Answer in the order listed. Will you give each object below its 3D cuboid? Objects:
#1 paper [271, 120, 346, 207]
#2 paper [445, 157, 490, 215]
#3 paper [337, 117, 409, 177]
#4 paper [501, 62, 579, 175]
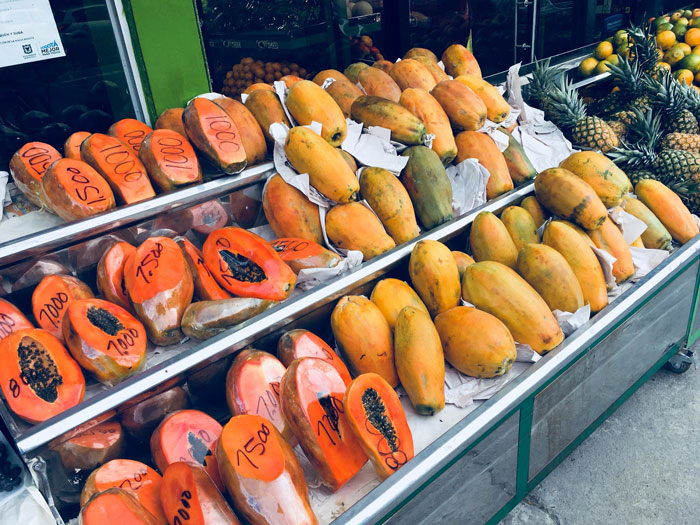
[{"bbox_3d":[-0.225,-0.401,2.147,0.357,0.119,0.253,48,44,-4],"label":"paper"},{"bbox_3d":[0.561,-0.367,2.440,0.221,0.085,0.263,-22,78,20],"label":"paper"},{"bbox_3d":[0.105,-0.517,2.329,0.254,0.103,0.225,24,59,-2],"label":"paper"},{"bbox_3d":[0.976,-0.851,3.011,0.267,0.308,0.838,-33,46,18],"label":"paper"}]
